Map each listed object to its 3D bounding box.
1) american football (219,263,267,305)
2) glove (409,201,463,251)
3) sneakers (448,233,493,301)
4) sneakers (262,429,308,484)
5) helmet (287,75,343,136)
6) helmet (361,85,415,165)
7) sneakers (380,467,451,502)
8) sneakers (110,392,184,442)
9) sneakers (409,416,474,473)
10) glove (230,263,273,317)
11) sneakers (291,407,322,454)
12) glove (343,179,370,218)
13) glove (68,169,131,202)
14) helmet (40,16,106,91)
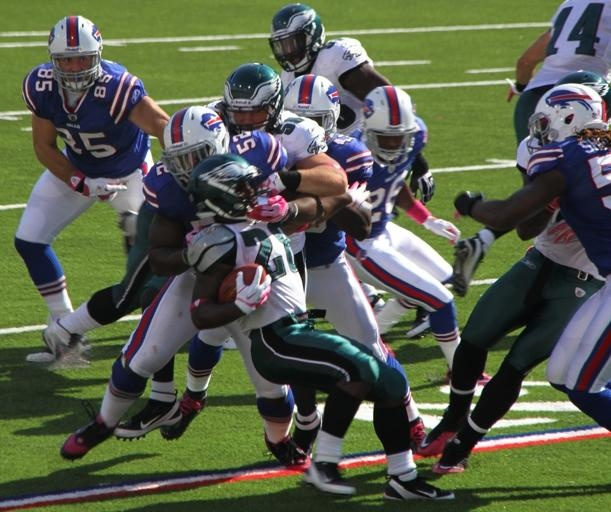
[{"bbox_3d":[-0.268,0.111,3.496,0.136,0.193,0.044,43,25,-35],"label":"american football"},{"bbox_3d":[0.751,-0.208,4.902,0.316,0.215,0.200,15,22,9],"label":"glove"},{"bbox_3d":[0.866,0.082,4.589,0.193,0.412,0.140,14,39,-4],"label":"sneakers"},{"bbox_3d":[-0.082,0.942,3.979,0.266,0.103,0.109,39,65,18],"label":"sneakers"},{"bbox_3d":[0.046,-0.801,4.498,0.290,0.272,0.342,-3,33,23],"label":"helmet"},{"bbox_3d":[0.398,-0.662,4.412,0.299,0.333,0.379,2,50,-4],"label":"helmet"},{"bbox_3d":[0.469,1.025,3.769,0.391,0.146,0.113,-2,9,-4],"label":"sneakers"},{"bbox_3d":[-0.760,0.791,4.203,0.428,0.171,0.136,-22,45,-22],"label":"sneakers"},{"bbox_3d":[0.670,0.956,4.123,0.186,0.367,0.121,16,53,-22],"label":"sneakers"},{"bbox_3d":[-0.224,0.136,3.459,0.150,0.204,0.074,51,16,16],"label":"glove"},{"bbox_3d":[0.006,0.851,4.180,0.098,0.249,0.107,18,20,26],"label":"sneakers"},{"bbox_3d":[0.275,-0.283,4.183,0.045,0.111,0.153,5,-25,44],"label":"glove"},{"bbox_3d":[-1.273,-0.416,5.050,0.249,0.088,0.174,13,16,3],"label":"glove"},{"bbox_3d":[-1.307,-1.166,4.900,0.346,0.385,0.436,-3,39,-8],"label":"helmet"}]
